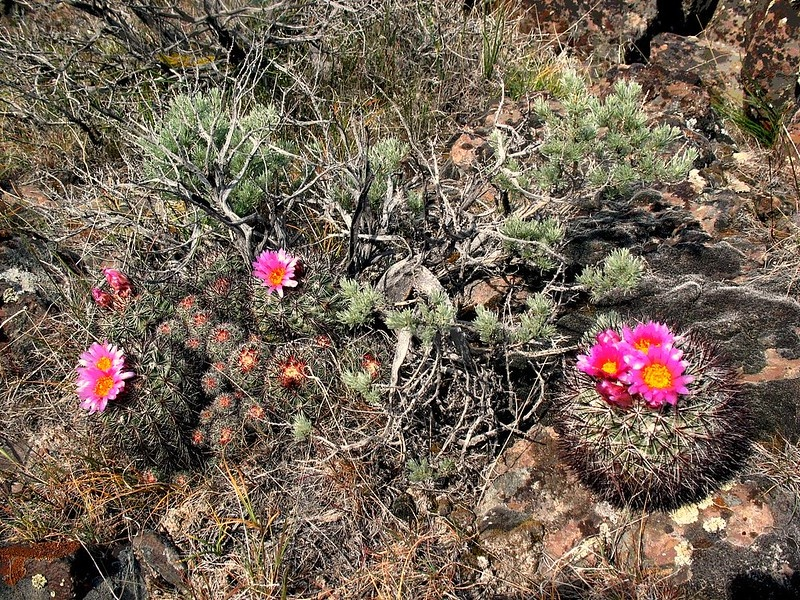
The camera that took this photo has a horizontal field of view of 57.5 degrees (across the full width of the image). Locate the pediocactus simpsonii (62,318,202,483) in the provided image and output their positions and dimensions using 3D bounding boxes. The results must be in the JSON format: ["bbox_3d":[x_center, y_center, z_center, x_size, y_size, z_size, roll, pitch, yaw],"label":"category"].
[{"bbox_3d":[-1.457,0.567,4.570,0.688,0.783,0.862,-15,93,7],"label":"pediocactus simpsonii"}]

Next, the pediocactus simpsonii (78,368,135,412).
[{"bbox_3d":[-1.711,0.533,4.261,0.340,0.185,0.251,1,74,14],"label":"pediocactus simpsonii"}]

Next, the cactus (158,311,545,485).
[{"bbox_3d":[-0.270,0.615,4.599,1.893,1.105,0.923,13,82,-4],"label":"cactus"}]

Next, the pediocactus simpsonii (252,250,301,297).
[{"bbox_3d":[-0.727,-0.171,4.378,0.244,0.107,0.272,30,93,23],"label":"pediocactus simpsonii"}]
